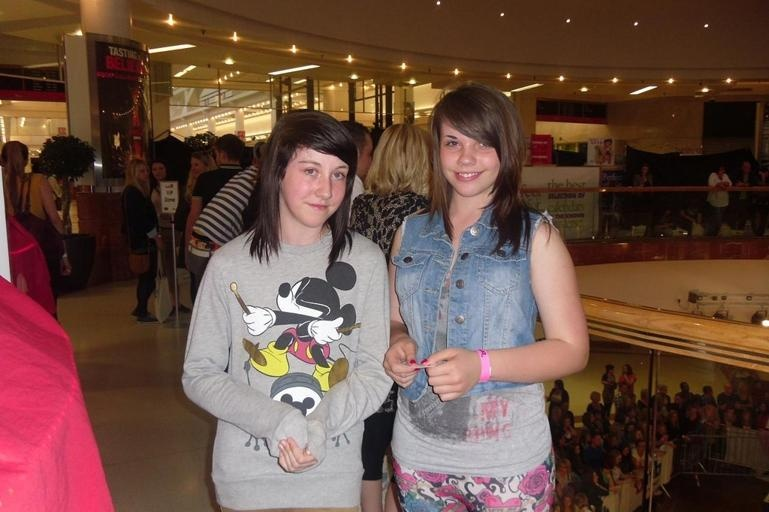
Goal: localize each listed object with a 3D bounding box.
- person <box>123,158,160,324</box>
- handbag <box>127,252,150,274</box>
[{"bbox_3d":[-2.650,-0.156,5.990,0.386,1.735,0.501,-8,14,-22],"label":"person"},{"bbox_3d":[-2.628,0.087,5.918,0.209,0.207,0.200,9,11,35],"label":"handbag"}]
